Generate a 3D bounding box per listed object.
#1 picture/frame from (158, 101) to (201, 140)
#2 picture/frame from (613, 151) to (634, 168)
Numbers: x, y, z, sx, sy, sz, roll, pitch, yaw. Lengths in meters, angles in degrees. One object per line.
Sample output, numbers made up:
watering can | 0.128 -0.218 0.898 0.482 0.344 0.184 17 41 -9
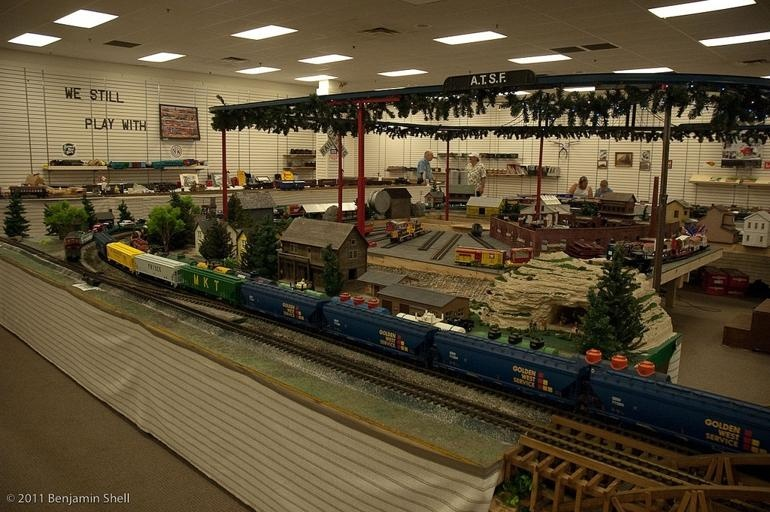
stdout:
picture/frame | -13.774 -9.026 33.451 3.045 2.268 0.412 -4 5 -42
picture/frame | 17.240 -6.981 36.355 1.291 1.016 0.195 6 5 39
